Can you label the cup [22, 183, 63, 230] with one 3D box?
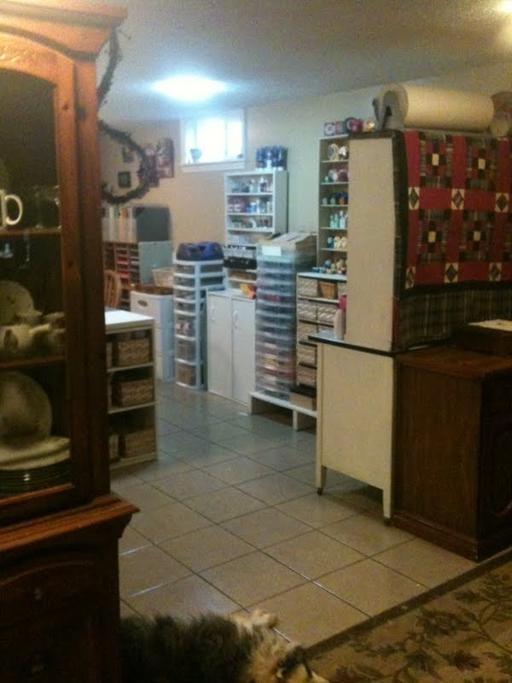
[{"bbox_3d":[-0.428,-0.269,1.143,0.041,0.075,0.079,19,25,34],"label":"cup"}]
